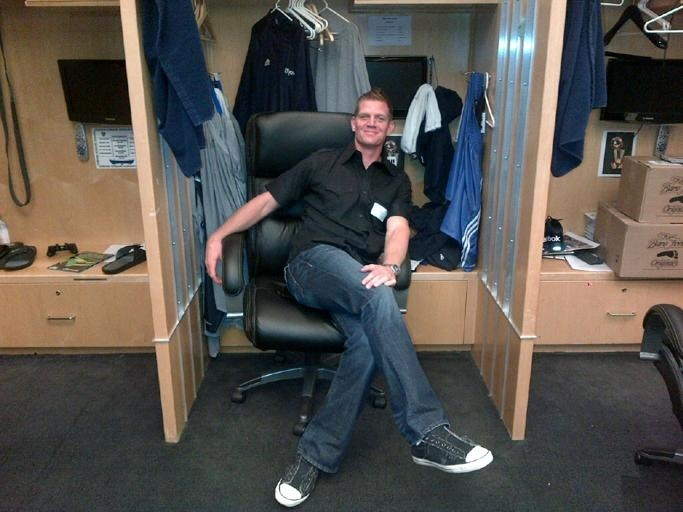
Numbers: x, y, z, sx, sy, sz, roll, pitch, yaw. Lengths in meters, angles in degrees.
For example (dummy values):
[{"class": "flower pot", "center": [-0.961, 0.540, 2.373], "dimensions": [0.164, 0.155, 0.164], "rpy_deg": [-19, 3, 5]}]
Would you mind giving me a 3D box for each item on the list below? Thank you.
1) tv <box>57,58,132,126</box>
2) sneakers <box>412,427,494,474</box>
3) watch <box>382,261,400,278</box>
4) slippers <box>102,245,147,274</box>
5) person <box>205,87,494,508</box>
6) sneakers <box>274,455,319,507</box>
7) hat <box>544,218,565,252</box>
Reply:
[{"class": "tv", "center": [-1.340, -0.908, 3.014], "dimensions": [0.503, 0.389, 0.056], "rpy_deg": [2, 24, 4]}, {"class": "sneakers", "center": [0.413, 0.740, 2.127], "dimensions": [0.140, 0.174, 0.340], "rpy_deg": [1, -13, -36]}, {"class": "watch", "center": [0.219, 0.059, 2.415], "dimensions": [0.047, 0.026, 0.063], "rpy_deg": [8, 23, -45]}, {"class": "slippers", "center": [-1.214, 0.027, 3.098], "dimensions": [0.075, 0.082, 0.221], "rpy_deg": [9, 23, 17]}, {"class": "person", "center": [-0.009, 0.184, 2.352], "dimensions": [0.911, 1.366, 1.165], "rpy_deg": [-4, 21, -12]}, {"class": "sneakers", "center": [-0.186, 0.891, 2.212], "dimensions": [0.175, 0.144, 0.186], "rpy_deg": [2, 20, 3]}, {"class": "hat", "center": [1.209, -0.115, 3.123], "dimensions": [0.123, 0.187, 0.125], "rpy_deg": [6, 21, 15]}]
